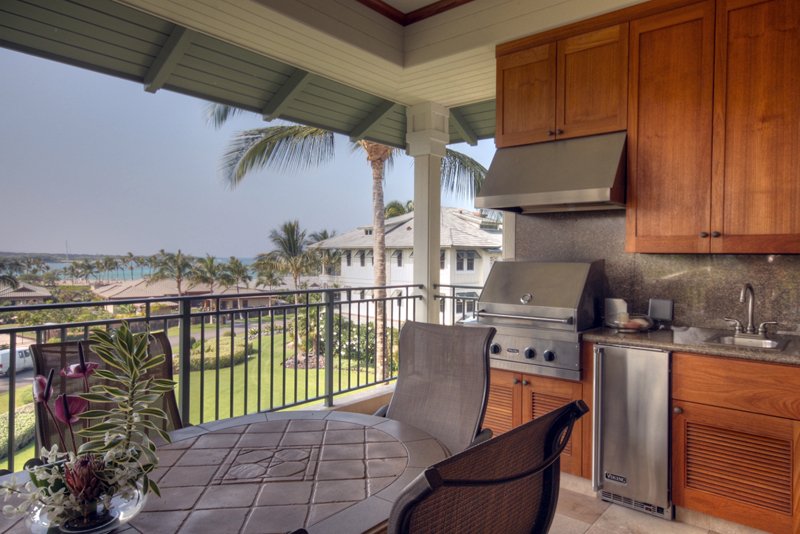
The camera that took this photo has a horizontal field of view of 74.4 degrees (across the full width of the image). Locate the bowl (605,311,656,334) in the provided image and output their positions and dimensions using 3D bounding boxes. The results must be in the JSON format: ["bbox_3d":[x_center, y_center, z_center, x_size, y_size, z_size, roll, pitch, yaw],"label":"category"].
[{"bbox_3d":[1.645,0.399,3.794,0.314,0.127,0.231,-1,1,20],"label":"bowl"}]
